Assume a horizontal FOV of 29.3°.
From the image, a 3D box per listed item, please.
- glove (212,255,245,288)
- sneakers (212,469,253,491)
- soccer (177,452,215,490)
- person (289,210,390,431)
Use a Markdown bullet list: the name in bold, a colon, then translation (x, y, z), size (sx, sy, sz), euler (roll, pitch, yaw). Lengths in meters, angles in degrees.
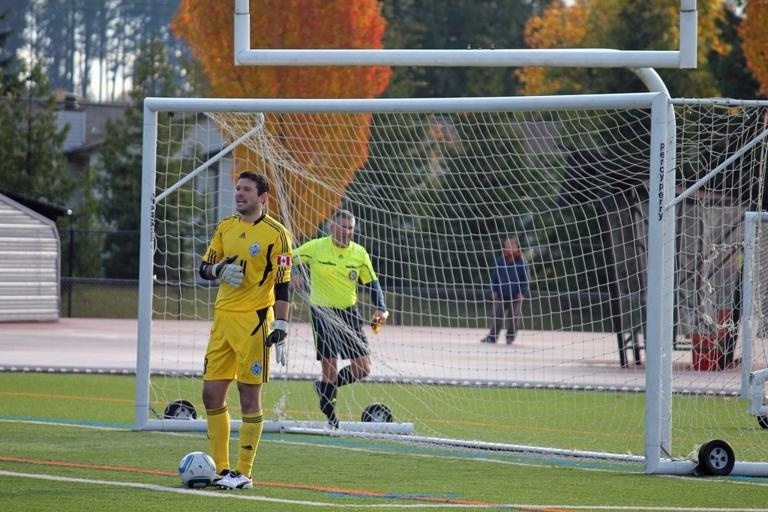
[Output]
- **glove**: translation (-2.655, 0.269, 25.270), size (0.529, 0.548, 0.182), euler (-1, -6, 21)
- **sneakers**: translation (-2.550, 3.857, 25.251), size (0.543, 0.248, 0.298), euler (7, -8, 0)
- **soccer**: translation (-3.180, 3.698, 25.384), size (0.695, 0.696, 0.700), euler (-3, -2, -15)
- **person**: translation (-0.883, 1.204, 27.824), size (1.325, 4.105, 0.398), euler (2, -6, -4)
